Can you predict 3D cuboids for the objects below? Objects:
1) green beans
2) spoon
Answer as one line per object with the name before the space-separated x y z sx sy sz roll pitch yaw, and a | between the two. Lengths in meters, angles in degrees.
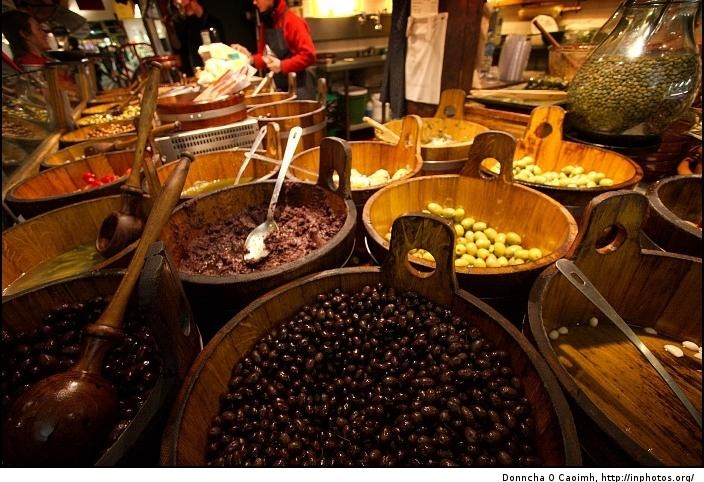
green beans | 2.144 -1.060 3.419 0.652 0.505 0.705 -18 22 -33
spoon | -0.572 -0.238 3.131 0.246 0.171 1.247 10 79 14
